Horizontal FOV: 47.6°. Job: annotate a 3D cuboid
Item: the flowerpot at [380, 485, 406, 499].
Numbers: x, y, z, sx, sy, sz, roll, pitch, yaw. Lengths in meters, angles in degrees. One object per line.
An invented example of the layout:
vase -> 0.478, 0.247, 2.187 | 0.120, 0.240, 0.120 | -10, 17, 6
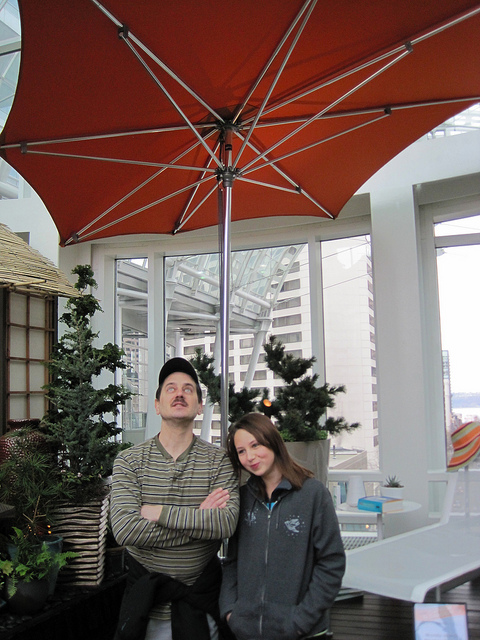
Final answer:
flowerpot -> 1.144, 1.261, 4.062 | 0.116, 0.081, 0.113 | 3, -6, -22

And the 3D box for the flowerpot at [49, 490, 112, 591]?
flowerpot -> -0.823, 1.138, 2.807 | 0.297, 0.449, 0.232 | 0, -8, -18

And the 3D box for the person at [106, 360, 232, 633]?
person -> -0.228, 0.565, 1.816 | 0.393, 0.882, 0.393 | -1, -8, -10

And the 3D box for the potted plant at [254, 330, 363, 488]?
potted plant -> 0.480, 0.743, 3.914 | 0.758, 0.953, 0.749 | 8, -6, -2

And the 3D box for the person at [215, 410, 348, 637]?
person -> 0.112, 0.659, 1.768 | 0.435, 0.704, 0.246 | -4, -8, 15
